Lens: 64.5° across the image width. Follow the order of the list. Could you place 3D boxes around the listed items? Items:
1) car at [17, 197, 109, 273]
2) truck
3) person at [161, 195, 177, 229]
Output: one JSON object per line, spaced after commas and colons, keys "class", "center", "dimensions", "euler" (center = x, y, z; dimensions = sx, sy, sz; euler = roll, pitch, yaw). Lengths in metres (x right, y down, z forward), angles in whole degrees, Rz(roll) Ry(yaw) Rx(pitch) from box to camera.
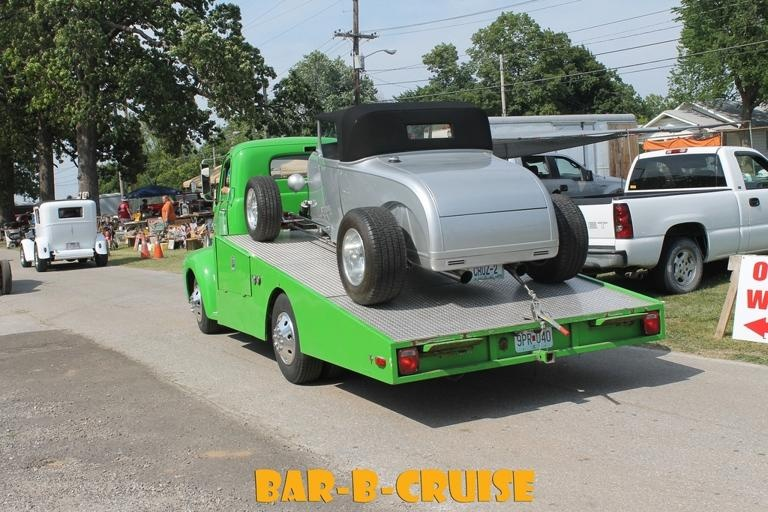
{"class": "car", "center": [-12.338, -0.851, 23.797], "dimensions": [2.470, 2.711, 1.242], "euler": [-7, 11, -22]}
{"class": "truck", "center": [-0.447, -0.217, 8.864], "dimensions": [3.515, 2.748, 6.402], "euler": [-3, 8, -35]}
{"class": "person", "center": [-10.049, -2.099, 28.239], "dimensions": [0.556, 1.373, 1.700], "euler": [-6, 10, -17]}
